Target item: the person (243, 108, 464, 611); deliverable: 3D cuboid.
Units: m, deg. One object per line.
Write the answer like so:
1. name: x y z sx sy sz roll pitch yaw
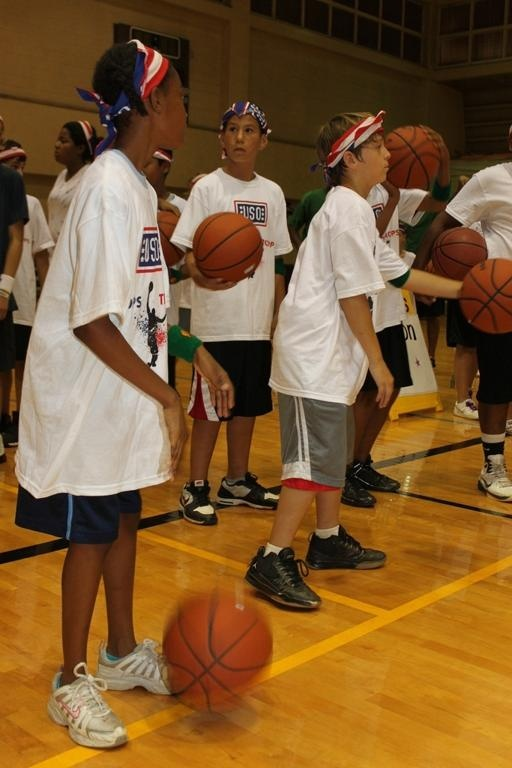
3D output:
1. person: 0.279 -0.124 2.158 0.456 1.734 0.542 3 1 27

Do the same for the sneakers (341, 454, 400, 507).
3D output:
1. sneakers: 0.662 0.544 3.361 0.155 0.185 0.474 6 8 44

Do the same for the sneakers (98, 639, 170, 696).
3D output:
1. sneakers: -0.282 0.675 1.448 0.239 0.115 0.100 3 -3 1

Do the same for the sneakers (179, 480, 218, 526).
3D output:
1. sneakers: -0.284 0.582 2.908 0.102 0.125 0.282 2 2 -20

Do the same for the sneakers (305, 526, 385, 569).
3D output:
1. sneakers: 0.335 0.646 2.438 0.378 0.206 0.134 1 4 -5

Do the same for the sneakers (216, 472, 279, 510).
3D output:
1. sneakers: -0.055 0.576 3.227 0.390 0.184 0.138 7 2 7

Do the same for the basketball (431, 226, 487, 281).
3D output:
1. basketball: 1.052 -0.673 3.281 0.316 0.300 0.304 9 6 14

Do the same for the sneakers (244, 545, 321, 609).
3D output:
1. sneakers: 0.094 0.650 2.024 0.108 0.164 0.299 15 0 -41

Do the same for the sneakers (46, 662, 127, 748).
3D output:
1. sneakers: -0.345 0.628 1.201 0.205 0.139 0.068 6 -3 37

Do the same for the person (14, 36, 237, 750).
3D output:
1. person: -0.285 0.032 1.125 0.300 1.370 0.360 1 1 -22
